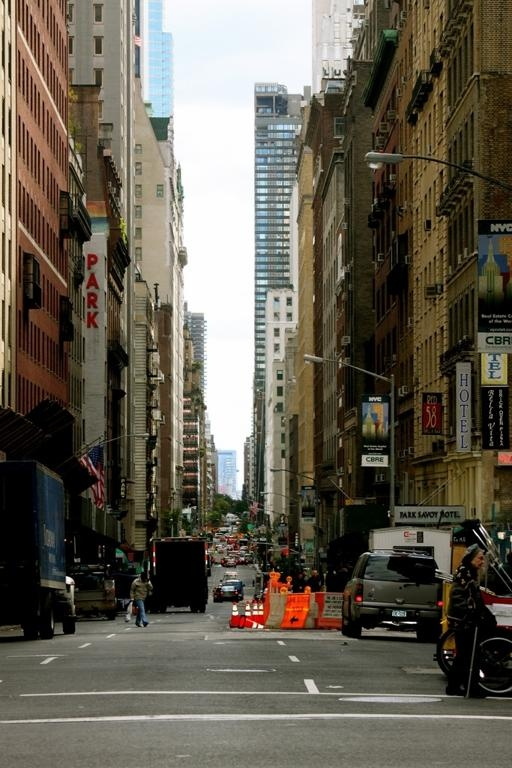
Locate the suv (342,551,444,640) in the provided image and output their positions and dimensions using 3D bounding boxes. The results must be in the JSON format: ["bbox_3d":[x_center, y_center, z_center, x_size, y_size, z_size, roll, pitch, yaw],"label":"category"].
[{"bbox_3d":[2.684,4.419,30.552,1.844,1.712,4.581,-1,-12,3],"label":"suv"}]

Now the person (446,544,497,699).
[{"bbox_3d":[2.163,2.472,15.318,0.413,1.782,0.582,-2,-4,31],"label":"person"}]

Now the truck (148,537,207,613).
[{"bbox_3d":[-2.937,7.246,56.611,2.138,2.413,3.495,1,-11,-5],"label":"truck"}]
